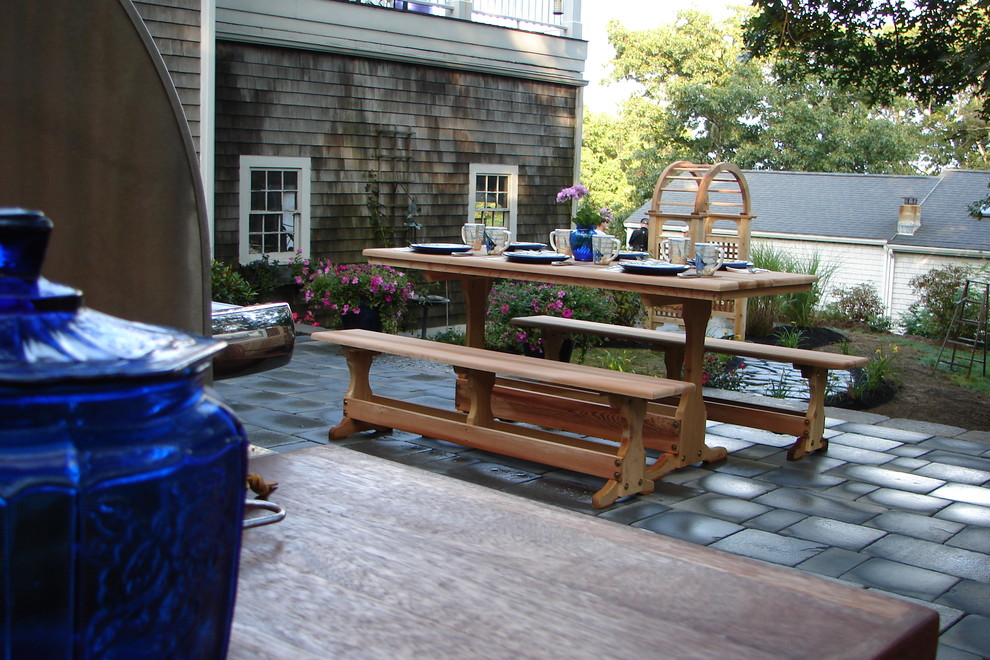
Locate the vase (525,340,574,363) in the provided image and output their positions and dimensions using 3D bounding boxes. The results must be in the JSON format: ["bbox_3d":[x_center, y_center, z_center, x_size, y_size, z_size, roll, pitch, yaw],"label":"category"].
[{"bbox_3d":[0.666,0.252,8.427,0.413,0.377,0.381,2,15,12],"label":"vase"}]

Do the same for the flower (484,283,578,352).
[{"bbox_3d":[0.435,-0.193,8.640,1.087,0.852,0.552,4,-3,-15],"label":"flower"}]

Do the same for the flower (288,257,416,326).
[{"bbox_3d":[-2.017,-0.524,9.801,1.670,0.901,1.175,-1,5,-33],"label":"flower"}]

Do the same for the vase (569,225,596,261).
[{"bbox_3d":[0.730,-0.707,5.571,0.278,0.263,0.255,1,6,13],"label":"vase"}]
